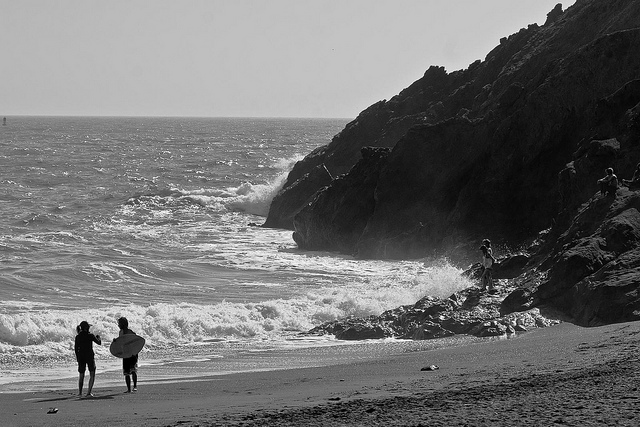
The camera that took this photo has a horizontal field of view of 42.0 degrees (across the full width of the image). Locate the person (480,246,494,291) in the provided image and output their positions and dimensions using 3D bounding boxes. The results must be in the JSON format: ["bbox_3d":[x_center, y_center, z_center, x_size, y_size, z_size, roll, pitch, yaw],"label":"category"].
[{"bbox_3d":[5.820,1.886,28.964,0.392,1.506,0.668,-1,-5,10],"label":"person"}]

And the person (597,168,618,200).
[{"bbox_3d":[9.955,-1.048,28.654,0.642,1.117,0.939,0,-5,-2],"label":"person"}]
